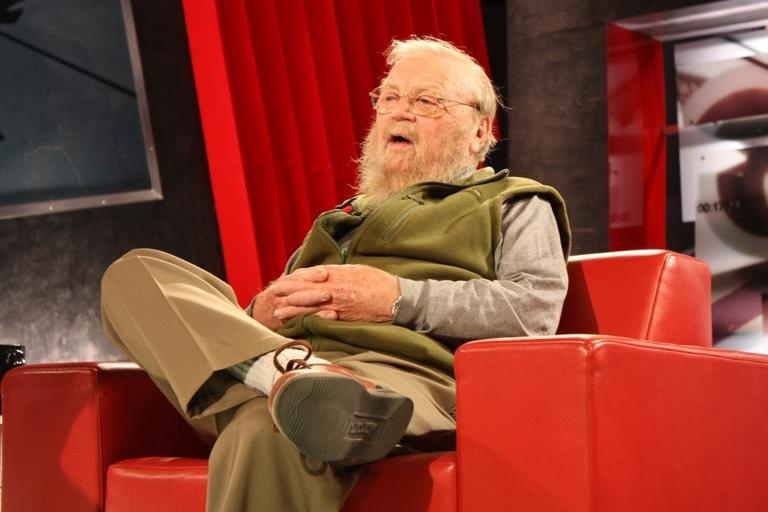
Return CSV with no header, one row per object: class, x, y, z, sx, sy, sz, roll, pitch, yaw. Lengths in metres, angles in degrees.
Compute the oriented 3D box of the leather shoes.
leather shoes,-0.103,0.337,1.644,0.316,0.171,0.153,7,6,-33
